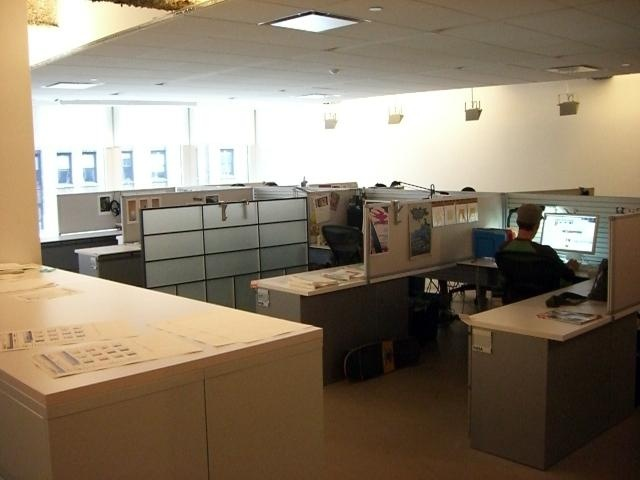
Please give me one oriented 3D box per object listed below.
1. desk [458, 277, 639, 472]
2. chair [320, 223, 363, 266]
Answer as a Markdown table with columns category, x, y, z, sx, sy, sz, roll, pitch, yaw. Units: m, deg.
| category | x | y | z | sx | sy | sz | roll | pitch | yaw |
| --- | --- | --- | --- | --- | --- | --- | --- | --- | --- |
| desk | 1.423 | 0.435 | 3.361 | 1.543 | 1.024 | 0.775 | -9 | 12 | -44 |
| chair | 0.275 | 0.046 | 5.962 | 0.399 | 0.564 | 0.449 | 3 | 9 | 23 |
